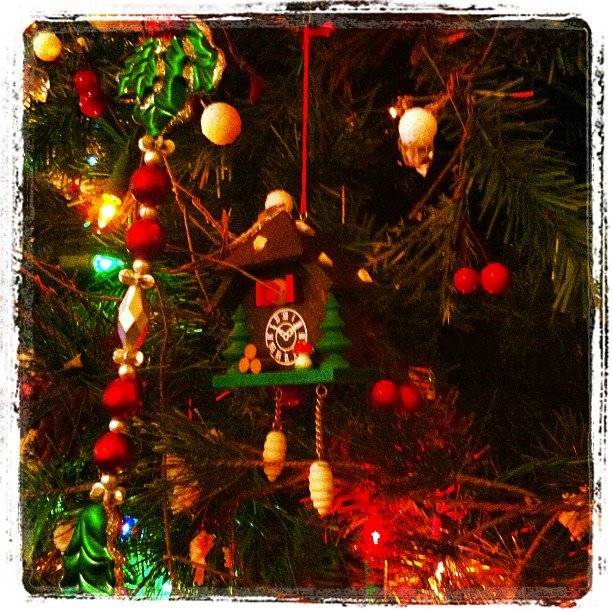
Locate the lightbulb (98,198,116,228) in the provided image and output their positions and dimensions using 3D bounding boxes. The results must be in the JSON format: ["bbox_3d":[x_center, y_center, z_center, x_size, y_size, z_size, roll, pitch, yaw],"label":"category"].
[{"bbox_3d":[-0.402,-0.186,1.940,0.034,0.013,0.056,13,103,-10],"label":"lightbulb"}]

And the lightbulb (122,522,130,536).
[{"bbox_3d":[-0.373,0.455,1.984,0.016,0.005,0.012,-56,32,23],"label":"lightbulb"}]

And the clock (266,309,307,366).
[{"bbox_3d":[-0.038,0.063,1.809,0.092,0.094,0.104,-5,84,-29],"label":"clock"}]

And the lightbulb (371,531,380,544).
[{"bbox_3d":[0.138,0.457,1.899,0.015,0.010,0.022,-4,57,4],"label":"lightbulb"}]

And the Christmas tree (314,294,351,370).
[{"bbox_3d":[0.050,0.050,1.740,0.068,0.067,0.136,-2,93,40],"label":"Christmas tree"}]
